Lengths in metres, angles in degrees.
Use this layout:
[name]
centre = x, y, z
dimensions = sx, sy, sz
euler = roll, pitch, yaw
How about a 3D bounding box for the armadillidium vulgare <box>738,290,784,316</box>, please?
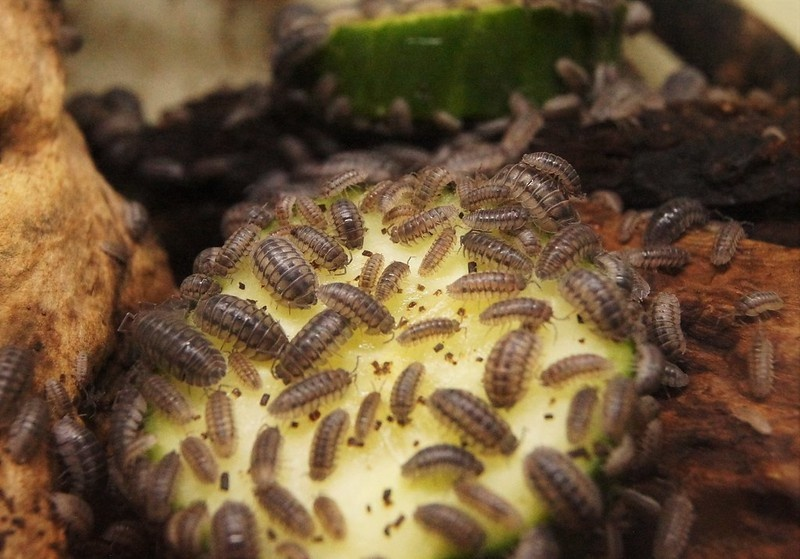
[armadillidium vulgare]
centre = 3.469, 0.209, 8.045
dimensions = 0.326, 0.116, 0.239
euler = -17, 39, 8
